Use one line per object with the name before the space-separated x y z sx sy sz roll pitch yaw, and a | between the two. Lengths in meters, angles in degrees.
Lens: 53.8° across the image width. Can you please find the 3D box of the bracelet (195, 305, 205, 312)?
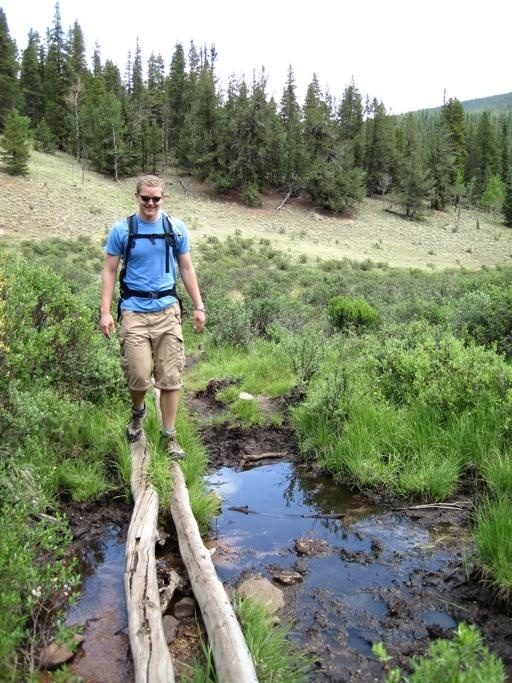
bracelet | -0.529 -0.316 4.816 0.071 0.047 0.062 -6 12 -22

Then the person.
person | -0.928 -0.219 4.465 0.855 2.348 0.537 -2 8 -18

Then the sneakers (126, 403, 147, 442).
sneakers | -1.123 0.766 4.700 0.129 0.417 0.174 7 -25 -14
